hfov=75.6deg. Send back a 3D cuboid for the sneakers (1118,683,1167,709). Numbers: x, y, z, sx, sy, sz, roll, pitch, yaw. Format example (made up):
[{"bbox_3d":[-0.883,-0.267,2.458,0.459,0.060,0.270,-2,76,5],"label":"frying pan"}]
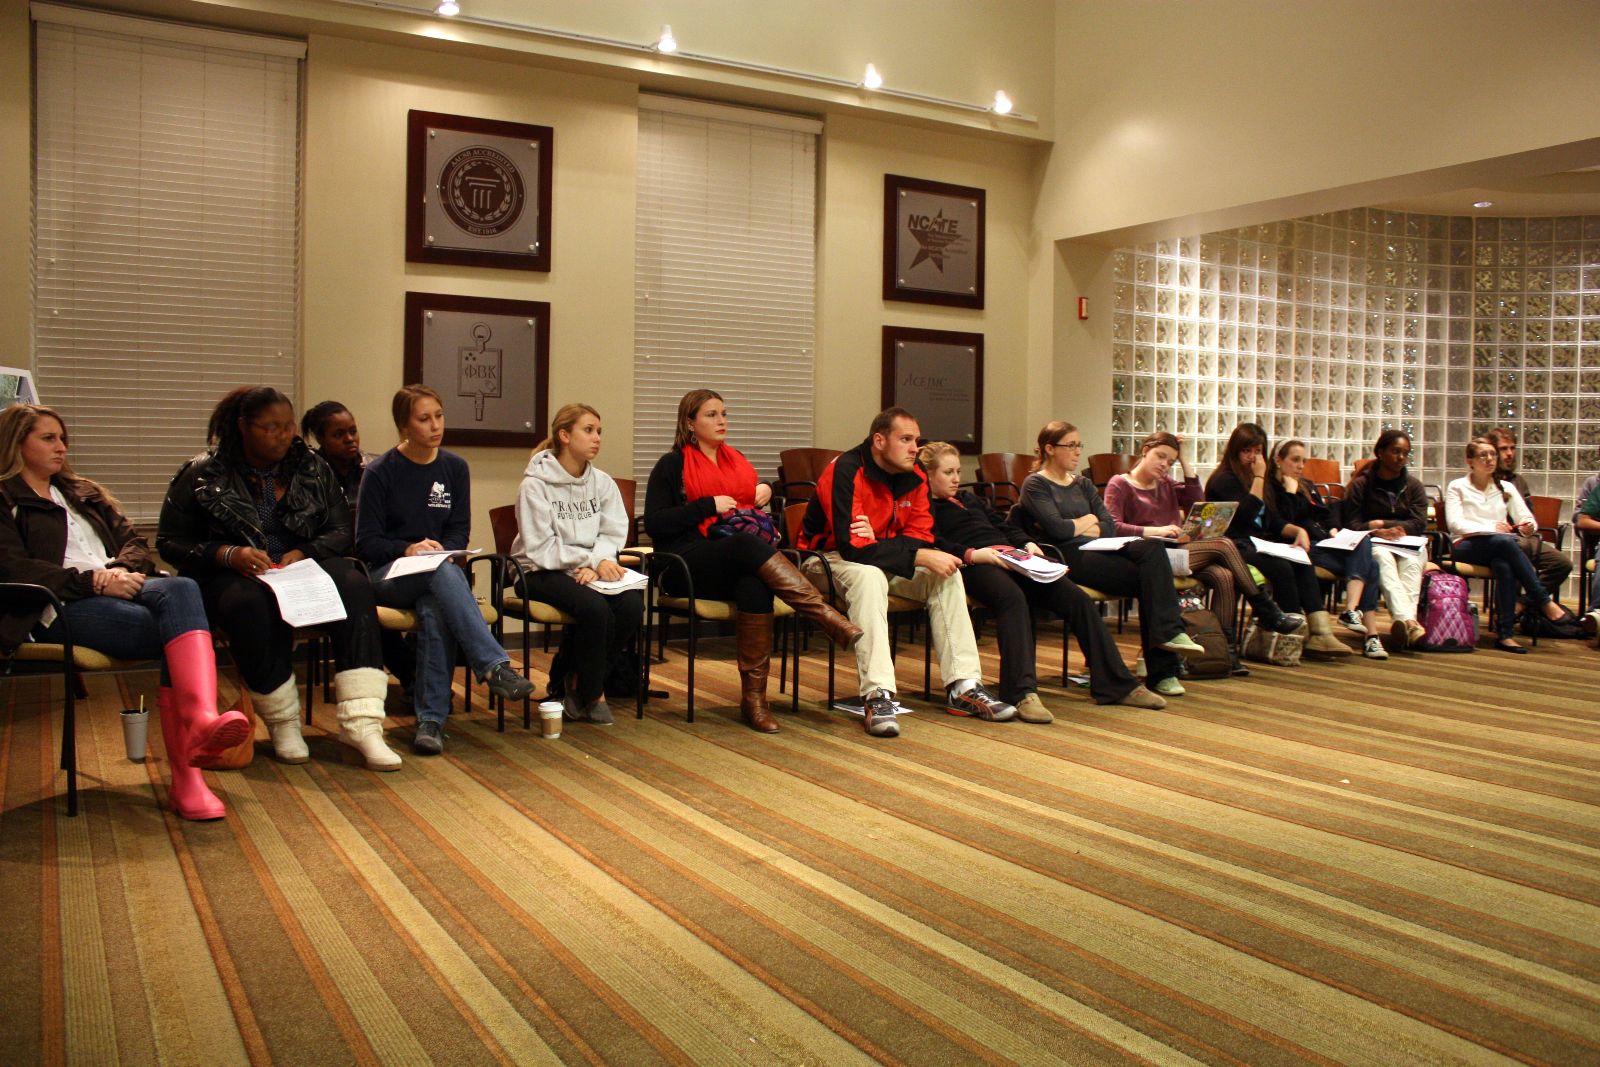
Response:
[{"bbox_3d":[1.786,0.843,5.359,0.210,0.077,0.103,-1,1,29],"label":"sneakers"}]

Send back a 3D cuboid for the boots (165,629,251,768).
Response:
[{"bbox_3d":[-2.102,0.599,3.644,0.219,0.501,0.413,-4,9,-35],"label":"boots"}]

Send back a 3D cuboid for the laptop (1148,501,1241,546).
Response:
[{"bbox_3d":[2.395,-0.103,6.111,0.343,0.192,0.317,-1,5,-29],"label":"laptop"}]

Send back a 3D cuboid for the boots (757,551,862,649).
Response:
[{"bbox_3d":[0.013,0.287,4.820,0.732,0.189,0.215,33,-1,4],"label":"boots"}]

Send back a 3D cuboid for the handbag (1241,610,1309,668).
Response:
[{"bbox_3d":[2.987,0.654,6.495,0.363,0.265,0.506,-6,7,-34],"label":"handbag"}]

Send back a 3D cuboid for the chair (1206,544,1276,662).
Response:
[{"bbox_3d":[2.698,0.375,6.379,0.411,0.869,0.239,-16,34,4],"label":"chair"}]

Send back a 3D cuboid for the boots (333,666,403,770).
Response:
[{"bbox_3d":[-1.750,0.746,4.215,0.204,0.372,0.480,0,3,-43],"label":"boots"}]

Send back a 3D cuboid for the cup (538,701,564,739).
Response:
[{"bbox_3d":[-1.127,0.836,4.686,0.167,0.147,0.160,-1,-2,0],"label":"cup"}]

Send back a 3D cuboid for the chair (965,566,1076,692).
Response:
[{"bbox_3d":[1.217,0.495,5.433,0.638,0.733,0.607,-4,-5,41],"label":"chair"}]

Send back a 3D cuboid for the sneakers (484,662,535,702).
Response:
[{"bbox_3d":[-1.278,0.645,4.515,0.115,0.122,0.303,-7,2,-39],"label":"sneakers"}]

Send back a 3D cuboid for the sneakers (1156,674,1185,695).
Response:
[{"bbox_3d":[2.022,0.835,5.658,0.086,0.061,0.148,-1,-5,-5],"label":"sneakers"}]

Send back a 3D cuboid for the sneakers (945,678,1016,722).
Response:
[{"bbox_3d":[0.903,0.819,5.147,0.334,0.174,0.131,6,9,35],"label":"sneakers"}]

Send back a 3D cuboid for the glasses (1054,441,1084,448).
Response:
[{"bbox_3d":[1.545,-0.515,5.961,0.078,0.022,0.076,0,-1,-39],"label":"glasses"}]

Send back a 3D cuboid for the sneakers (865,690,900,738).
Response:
[{"bbox_3d":[0.381,0.822,4.856,0.155,0.197,0.196,1,7,-2],"label":"sneakers"}]

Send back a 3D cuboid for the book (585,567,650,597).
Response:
[{"bbox_3d":[-0.831,0.227,4.799,0.182,0.094,0.295,6,9,32],"label":"book"}]

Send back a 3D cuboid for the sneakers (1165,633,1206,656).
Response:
[{"bbox_3d":[2.078,0.610,5.735,0.150,0.123,0.346,0,-4,-19],"label":"sneakers"}]

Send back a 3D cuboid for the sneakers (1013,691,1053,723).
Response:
[{"bbox_3d":[1.144,0.852,5.077,0.104,0.083,0.202,-1,-1,-23],"label":"sneakers"}]

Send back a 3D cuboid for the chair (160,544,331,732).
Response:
[{"bbox_3d":[-2.216,0.432,4.344,0.683,0.864,0.667,-3,3,-45],"label":"chair"}]

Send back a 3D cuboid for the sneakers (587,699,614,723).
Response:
[{"bbox_3d":[-0.952,0.835,4.908,0.119,0.105,0.108,-2,8,-25],"label":"sneakers"}]
